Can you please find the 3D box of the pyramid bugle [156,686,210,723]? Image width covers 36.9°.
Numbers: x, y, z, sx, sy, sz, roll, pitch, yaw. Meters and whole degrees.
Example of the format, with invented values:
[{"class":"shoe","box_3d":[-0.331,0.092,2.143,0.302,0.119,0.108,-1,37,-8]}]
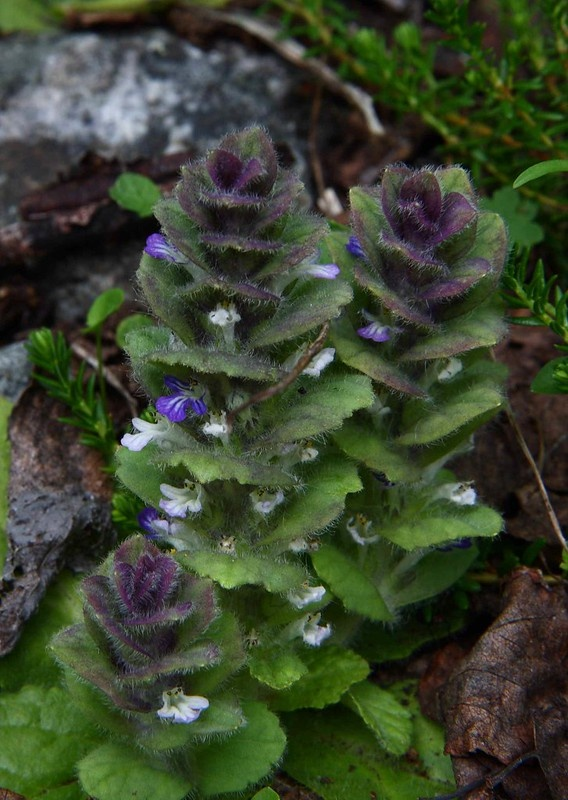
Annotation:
[{"class":"pyramid bugle","box_3d":[-0.299,0.896,2.499,0.131,0.047,0.117,-4,47,-13]}]
